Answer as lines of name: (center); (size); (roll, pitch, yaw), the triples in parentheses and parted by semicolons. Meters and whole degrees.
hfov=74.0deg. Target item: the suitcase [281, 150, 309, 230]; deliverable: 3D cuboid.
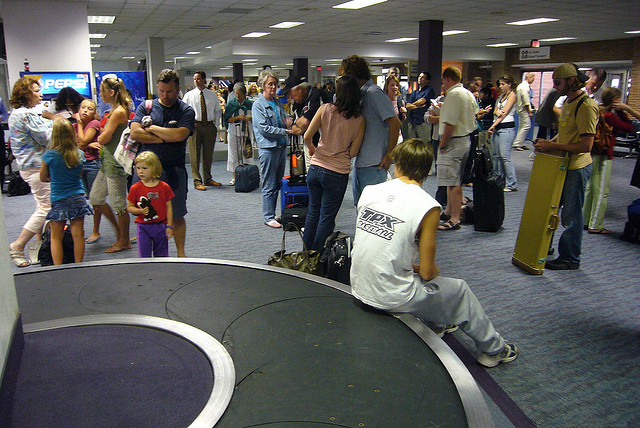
suitcase: (-0.317, -0.385, 5.690); (0.453, 0.984, 0.357); (-1, 5, -12)

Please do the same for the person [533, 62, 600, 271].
person: (2.371, -0.440, 4.127); (0.572, 1.981, 0.496); (10, 19, 28)

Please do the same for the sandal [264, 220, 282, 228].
sandal: (-0.628, 0.123, 5.648); (0.231, 0.091, 0.086); (10, 15, 34)

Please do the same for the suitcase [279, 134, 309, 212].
suitcase: (-0.349, -0.406, 5.544); (0.362, 0.772, 0.372); (-2, 17, -7)

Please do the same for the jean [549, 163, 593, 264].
jean: (2.453, 0.010, 4.125); (0.216, 1.027, 0.311); (15, 23, 40)

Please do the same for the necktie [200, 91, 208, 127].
necktie: (-2.055, -1.864, 7.482); (0.105, 0.554, 0.230); (-4, 18, -13)

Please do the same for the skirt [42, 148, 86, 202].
skirt: (-2.447, -0.366, 4.138); (0.266, 0.319, 0.185); (-8, -4, 19)

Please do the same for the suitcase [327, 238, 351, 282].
suitcase: (0.141, 0.349, 3.292); (0.164, 0.284, 0.217); (0, 17, -2)

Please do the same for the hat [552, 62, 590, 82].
hat: (2.321, -1.312, 3.954); (0.294, 0.160, 0.186); (-6, 21, 24)

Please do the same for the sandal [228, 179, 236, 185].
sandal: (-1.701, -0.628, 8.182); (0.081, 0.085, 0.206); (0, 2, 10)

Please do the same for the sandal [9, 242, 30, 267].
sandal: (-3.097, 0.408, 4.366); (0.140, 0.216, 0.264); (-12, 20, -35)

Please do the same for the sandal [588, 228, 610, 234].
sandal: (3.466, 0.198, 5.270); (0.207, 0.077, 0.069); (3, 8, 3)

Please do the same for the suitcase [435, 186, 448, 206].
suitcase: (1.726, -0.267, 6.046); (0.149, 0.373, 0.459); (5, 17, 14)

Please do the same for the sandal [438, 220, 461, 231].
sandal: (1.664, 0.152, 5.453); (0.322, 0.122, 0.106); (0, 5, -5)

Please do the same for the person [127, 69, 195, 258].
person: (-1.475, -0.407, 3.952); (0.611, 1.771, 0.499); (3, 6, 7)

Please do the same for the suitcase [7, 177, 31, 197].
suitcase: (-5.205, -0.495, 7.299); (0.335, 0.305, 0.250); (-11, 20, -33)

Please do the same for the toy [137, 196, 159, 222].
toy: (-1.526, -0.052, 3.762); (0.153, 0.221, 0.062); (3, 17, 7)

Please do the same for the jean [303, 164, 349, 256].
jean: (0.020, -0.049, 4.211); (0.404, 1.024, 0.332); (24, 25, 35)

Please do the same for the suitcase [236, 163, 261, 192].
suitcase: (-1.277, -0.654, 7.590); (0.254, 0.440, 0.471); (3, 17, 20)

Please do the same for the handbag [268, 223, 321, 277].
handbag: (-0.194, 0.334, 3.385); (0.433, 0.523, 0.192); (-5, 21, 3)

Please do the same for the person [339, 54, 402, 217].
person: (0.459, -0.793, 4.063); (0.564, 1.365, 0.245); (2, 17, 6)

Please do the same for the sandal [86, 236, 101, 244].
sandal: (-2.691, 0.286, 5.058); (0.093, 0.060, 0.194); (5, 17, 15)

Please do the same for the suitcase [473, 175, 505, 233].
suitcase: (2.148, -0.135, 5.440); (0.397, 0.686, 0.465); (-2, 7, 21)

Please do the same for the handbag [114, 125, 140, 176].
handbag: (-1.785, -0.594, 3.898); (0.291, 0.381, 0.153); (43, 31, 25)
